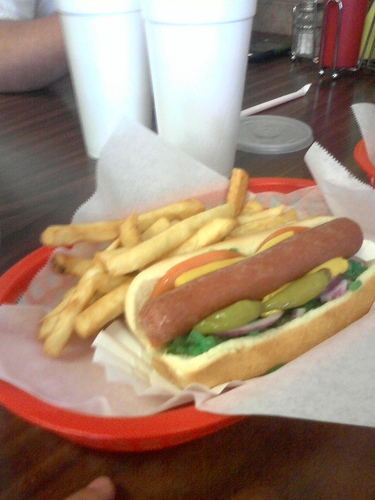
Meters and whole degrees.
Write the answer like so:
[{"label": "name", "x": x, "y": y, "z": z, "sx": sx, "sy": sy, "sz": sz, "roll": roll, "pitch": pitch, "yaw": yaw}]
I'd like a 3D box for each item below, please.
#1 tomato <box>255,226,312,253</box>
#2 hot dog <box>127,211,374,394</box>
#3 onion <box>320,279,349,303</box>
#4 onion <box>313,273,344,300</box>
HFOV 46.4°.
[{"label": "tomato", "x": 0.210, "y": -0.041, "z": 0.965, "sx": 0.129, "sy": 0.052, "sz": 0.081, "roll": -9, "pitch": 22, "yaw": -33}, {"label": "hot dog", "x": 0.180, "y": 0.090, "z": 0.910, "sx": 0.563, "sy": 0.165, "sz": 0.254, "roll": -18, "pitch": 43, "yaw": -24}, {"label": "onion", "x": 0.302, "y": 0.084, "z": 0.890, "sx": 0.060, "sy": 0.035, "sz": 0.013, "roll": -33, "pitch": 74, "yaw": -7}, {"label": "onion", "x": 0.275, "y": 0.070, "z": 0.859, "sx": 0.069, "sy": 0.013, "sz": 0.018, "roll": -37, "pitch": 25, "yaw": 3}]
